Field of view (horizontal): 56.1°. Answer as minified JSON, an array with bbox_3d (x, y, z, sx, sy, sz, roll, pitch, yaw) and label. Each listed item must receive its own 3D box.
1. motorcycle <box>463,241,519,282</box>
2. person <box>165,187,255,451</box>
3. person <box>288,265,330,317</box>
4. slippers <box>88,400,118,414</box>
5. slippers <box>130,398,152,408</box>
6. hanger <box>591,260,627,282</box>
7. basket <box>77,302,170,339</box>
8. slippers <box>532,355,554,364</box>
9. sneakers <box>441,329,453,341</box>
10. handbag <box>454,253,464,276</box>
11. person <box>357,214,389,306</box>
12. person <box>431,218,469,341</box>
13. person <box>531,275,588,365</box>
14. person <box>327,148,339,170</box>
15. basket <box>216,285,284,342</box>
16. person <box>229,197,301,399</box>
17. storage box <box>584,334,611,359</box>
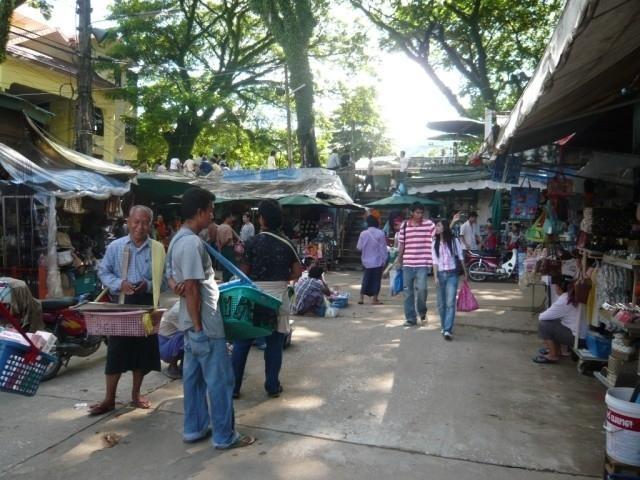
[{"bbox_3d":[5.289,0.617,17.924,1.930,1.358,0.926,1,-11,-3],"label":"motorcycle"},{"bbox_3d":[-1.236,0.829,6.445,0.596,2.726,0.920,-9,13,-40],"label":"person"},{"bbox_3d":[-0.156,1.037,12.410,0.843,1.092,0.833,9,3,-5],"label":"person"},{"bbox_3d":[-2.584,1.993,7.150,0.327,0.142,0.110,8,-6,-25],"label":"slippers"},{"bbox_3d":[-2.187,1.980,7.300,0.213,0.060,0.114,2,7,24],"label":"slippers"},{"bbox_3d":[4.014,0.448,8.492,0.311,0.273,0.592,0,9,1],"label":"hanger"},{"bbox_3d":[-2.301,0.964,6.898,0.859,0.413,0.354,1,10,5],"label":"basket"},{"bbox_3d":[3.287,1.752,8.857,0.276,0.086,0.108,1,3,-1],"label":"slippers"},{"bbox_3d":[2.124,1.589,10.059,0.125,0.154,0.361,0,-9,5],"label":"sneakers"},{"bbox_3d":[2.376,0.441,10.274,0.164,0.381,0.333,2,10,12],"label":"handbag"},{"bbox_3d":[1.149,0.471,13.200,0.609,1.975,0.654,-2,10,-12],"label":"person"},{"bbox_3d":[2.211,0.644,10.249,0.496,1.910,0.860,-1,10,-2],"label":"person"},{"bbox_3d":[3.583,1.198,8.942,0.637,1.221,0.711,3,10,20],"label":"person"},{"bbox_3d":[0.508,-3.135,23.944,0.439,0.645,0.917,0,9,0],"label":"person"},{"bbox_3d":[-0.807,0.837,6.859,0.730,0.505,0.572,2,-9,-14],"label":"basket"},{"bbox_3d":[-0.764,0.752,7.874,0.941,2.453,0.738,2,0,-25],"label":"person"},{"bbox_3d":[3.840,1.451,8.339,0.289,0.278,0.314,-5,11,-30],"label":"storage box"}]
